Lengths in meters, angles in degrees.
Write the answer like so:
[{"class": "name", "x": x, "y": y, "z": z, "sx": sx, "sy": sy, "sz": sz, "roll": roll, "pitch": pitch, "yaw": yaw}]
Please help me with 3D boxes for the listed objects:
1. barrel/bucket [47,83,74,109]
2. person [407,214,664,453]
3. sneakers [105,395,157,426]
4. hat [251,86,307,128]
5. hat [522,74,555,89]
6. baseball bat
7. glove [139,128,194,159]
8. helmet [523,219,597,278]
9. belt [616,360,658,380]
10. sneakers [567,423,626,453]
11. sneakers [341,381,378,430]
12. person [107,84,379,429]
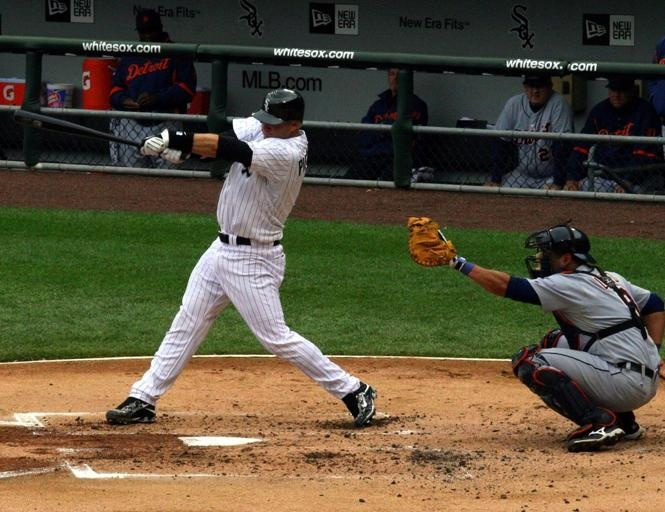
[{"class": "barrel/bucket", "x": -2.801, "y": -1.656, "z": 11.649, "sx": 0.258, "sy": 0.251, "sz": 0.601, "roll": -3, "pitch": 14, "yaw": -9}, {"class": "person", "x": 1.259, "y": 0.426, "z": 6.516, "sx": 1.083, "sy": 1.209, "sz": 0.683, "roll": 12, "pitch": 20, "yaw": 38}, {"class": "sneakers", "x": -1.170, "y": 0.925, "z": 6.659, "sx": 0.305, "sy": 0.119, "sz": 0.145, "roll": 3, "pitch": 1, "yaw": -6}, {"class": "hat", "x": -0.301, "y": -0.889, "z": 6.571, "sx": 0.351, "sy": 0.142, "sz": 0.227, "roll": -5, "pitch": 32, "yaw": -14}, {"class": "hat", "x": 1.722, "y": -1.480, "z": 9.494, "sx": 0.251, "sy": 0.115, "sz": 0.295, "roll": 0, "pitch": -3, "yaw": 11}, {"class": "baseball bat", "x": -1.424, "y": -0.742, "z": 6.807, "sx": 0.961, "sy": 0.089, "sz": 0.120, "roll": 13, "pitch": -39, "yaw": -26}, {"class": "glove", "x": -0.909, "y": -0.636, "z": 6.329, "sx": 0.239, "sy": 0.086, "sz": 0.179, "roll": 0, "pitch": 8, "yaw": 10}, {"class": "helmet", "x": 1.338, "y": -0.034, "z": 6.545, "sx": 0.461, "sy": 0.283, "sz": 0.305, "roll": 1, "pitch": 3, "yaw": 3}, {"class": "belt", "x": 1.709, "y": 0.634, "z": 6.347, "sx": 0.149, "sy": 0.034, "sz": 0.123, "roll": 10, "pitch": -2, "yaw": -7}, {"class": "sneakers", "x": 1.509, "y": 1.009, "z": 6.305, "sx": 0.381, "sy": 0.113, "sz": 0.144, "roll": -3, "pitch": 43, "yaw": -18}, {"class": "sneakers", "x": 0.166, "y": 0.897, "z": 6.753, "sx": 0.198, "sy": 0.316, "sz": 0.129, "roll": 1, "pitch": -29, "yaw": -25}, {"class": "person", "x": -0.527, "y": 0.132, "z": 6.628, "sx": 1.538, "sy": 1.778, "sz": 0.420, "roll": -1, "pitch": 17, "yaw": -1}]
